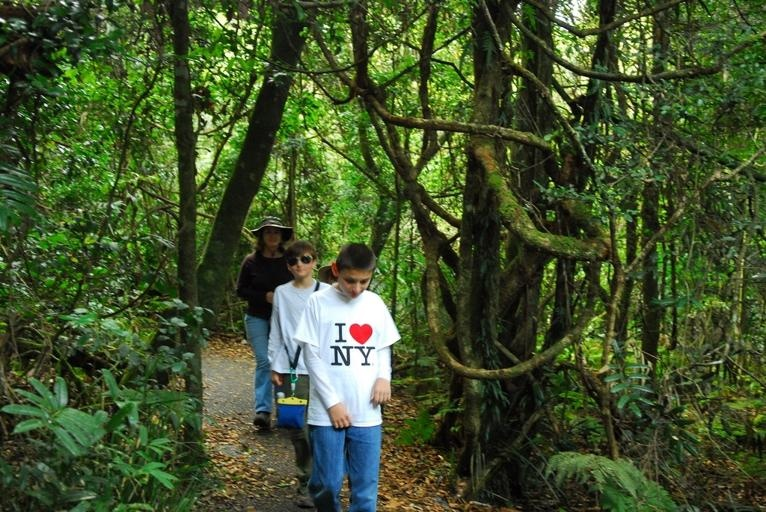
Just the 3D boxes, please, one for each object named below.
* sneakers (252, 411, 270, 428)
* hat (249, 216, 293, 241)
[{"bbox_3d":[-1.405,1.895,7.862,0.104,0.124,0.268,5,-37,7],"label":"sneakers"},{"bbox_3d":[-1.514,-0.380,9.372,0.495,0.201,0.564,0,-21,-1],"label":"hat"}]
